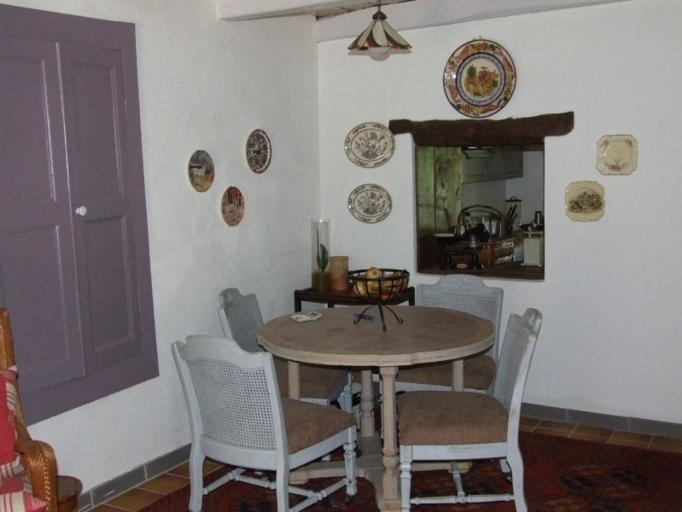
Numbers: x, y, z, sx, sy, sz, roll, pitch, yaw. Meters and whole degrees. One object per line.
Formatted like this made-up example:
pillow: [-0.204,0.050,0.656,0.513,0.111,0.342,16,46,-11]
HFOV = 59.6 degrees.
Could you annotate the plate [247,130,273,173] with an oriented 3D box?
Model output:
plate: [-0.600,-0.761,4.325,0.107,0.412,0.282,5,9,32]

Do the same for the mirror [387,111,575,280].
mirror: [1.233,-0.458,4.807,1.384,1.444,1.127,2,7,35]

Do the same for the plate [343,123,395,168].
plate: [0.238,-0.884,4.730,0.261,0.268,0.037,36,17,1]

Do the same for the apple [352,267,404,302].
apple: [0.199,0.157,3.373,0.223,0.108,0.232,-1,1,-4]

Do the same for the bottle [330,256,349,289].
bottle: [-0.014,0.135,4.847,0.188,0.324,0.271,1,2,0]

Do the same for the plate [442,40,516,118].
plate: [0.998,-1.276,4.296,0.513,0.544,0.051,3,11,26]

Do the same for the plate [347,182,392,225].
plate: [0.234,-0.429,4.788,0.373,0.309,0.065,5,12,33]
